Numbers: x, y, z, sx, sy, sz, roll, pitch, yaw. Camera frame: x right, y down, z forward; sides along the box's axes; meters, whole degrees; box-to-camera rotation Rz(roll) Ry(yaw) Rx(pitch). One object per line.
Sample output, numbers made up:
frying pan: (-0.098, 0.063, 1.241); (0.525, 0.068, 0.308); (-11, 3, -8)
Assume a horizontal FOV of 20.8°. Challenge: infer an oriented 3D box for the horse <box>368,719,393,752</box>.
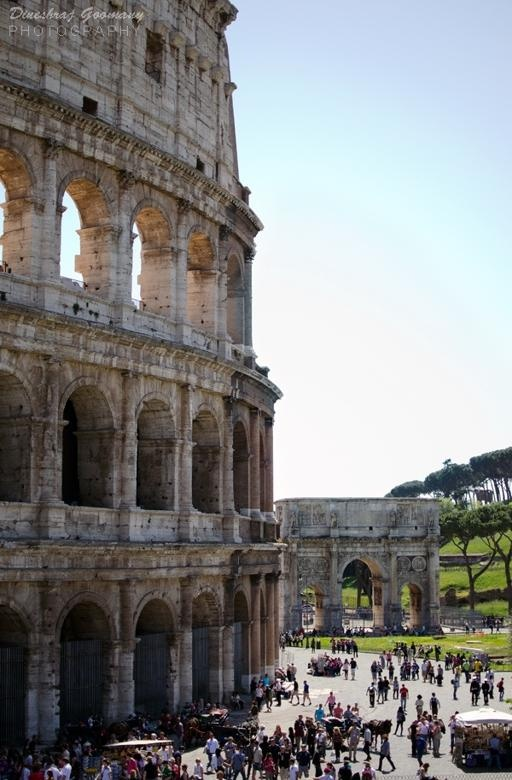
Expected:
horse: (3.537, 9.613, 39.468); (0.406, 1.167, 1.628); (1, -4, 21)
